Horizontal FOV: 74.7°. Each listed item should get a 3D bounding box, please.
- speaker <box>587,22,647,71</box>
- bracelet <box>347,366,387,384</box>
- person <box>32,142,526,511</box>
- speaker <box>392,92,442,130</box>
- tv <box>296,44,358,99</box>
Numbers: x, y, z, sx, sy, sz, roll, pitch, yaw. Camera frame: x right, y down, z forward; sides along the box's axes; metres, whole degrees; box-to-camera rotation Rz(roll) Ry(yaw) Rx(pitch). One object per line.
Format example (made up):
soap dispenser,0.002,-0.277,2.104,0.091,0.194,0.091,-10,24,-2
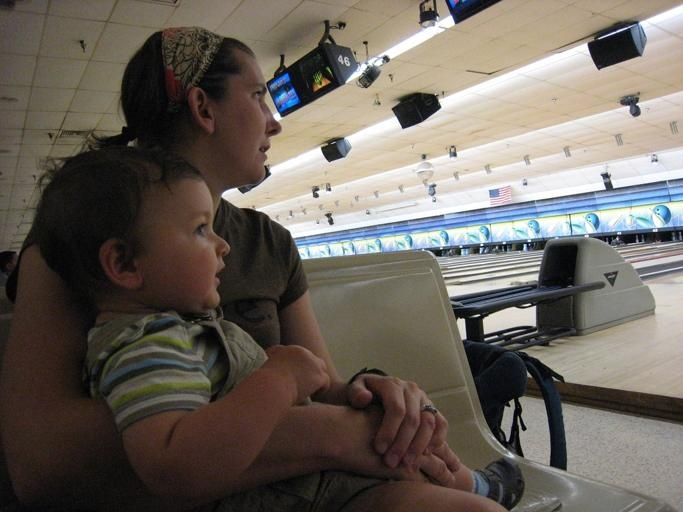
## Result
speaker,3.301,-2.578,5.442,0.384,0.397,0.527,-9,1,-44
bracelet,0.055,0.274,1.011,0.071,0.031,0.060,-5,-15,-44
person,-0.156,0.132,0.803,0.634,0.666,0.399,-8,1,-26
speaker,1.151,-2.305,7.063,0.605,0.433,0.619,-33,13,-28
tv,-0.183,-2.028,4.862,0.348,0.453,0.664,-31,10,-41
